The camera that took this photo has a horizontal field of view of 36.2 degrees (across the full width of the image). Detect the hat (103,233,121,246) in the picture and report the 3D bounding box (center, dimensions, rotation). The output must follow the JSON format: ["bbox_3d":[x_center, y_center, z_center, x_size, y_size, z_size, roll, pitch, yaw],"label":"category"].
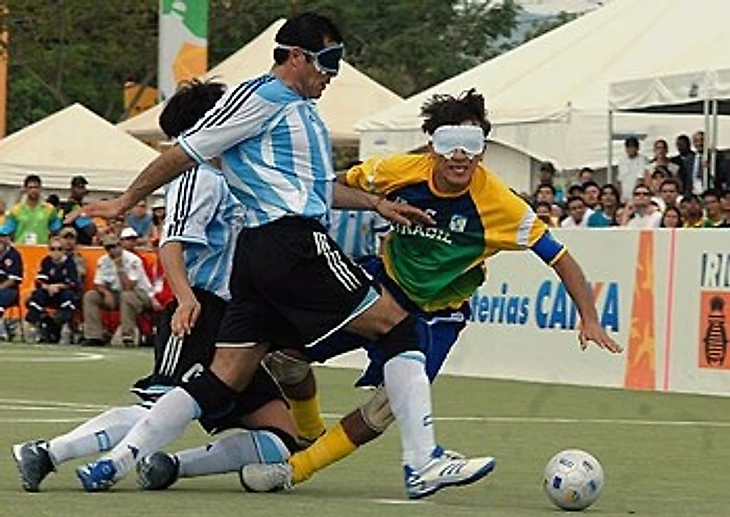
[{"bbox_3d":[-3.145,-0.235,13.935,0.216,0.082,0.166,-2,0,0],"label":"hat"}]

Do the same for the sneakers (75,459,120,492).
[{"bbox_3d":[-1.531,1.237,6.446,0.219,0.119,0.286,6,-10,-40],"label":"sneakers"}]

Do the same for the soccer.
[{"bbox_3d":[1.191,1.291,6.625,0.420,0.308,0.331,2,-7,5],"label":"soccer"}]

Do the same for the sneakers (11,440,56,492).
[{"bbox_3d":[-1.903,1.194,6.451,0.220,0.217,0.164,2,-1,-33],"label":"sneakers"}]

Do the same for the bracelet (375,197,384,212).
[{"bbox_3d":[0.088,-0.337,6.956,0.035,0.066,0.068,5,-13,-3],"label":"bracelet"}]

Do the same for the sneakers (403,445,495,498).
[{"bbox_3d":[0.548,1.247,6.565,0.657,0.229,0.249,-27,-35,35],"label":"sneakers"}]

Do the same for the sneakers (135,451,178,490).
[{"bbox_3d":[-1.237,1.254,6.656,0.213,0.163,0.206,-42,3,38],"label":"sneakers"}]

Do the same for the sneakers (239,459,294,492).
[{"bbox_3d":[-0.552,1.308,6.757,0.403,0.110,0.162,-3,-6,-20],"label":"sneakers"}]
